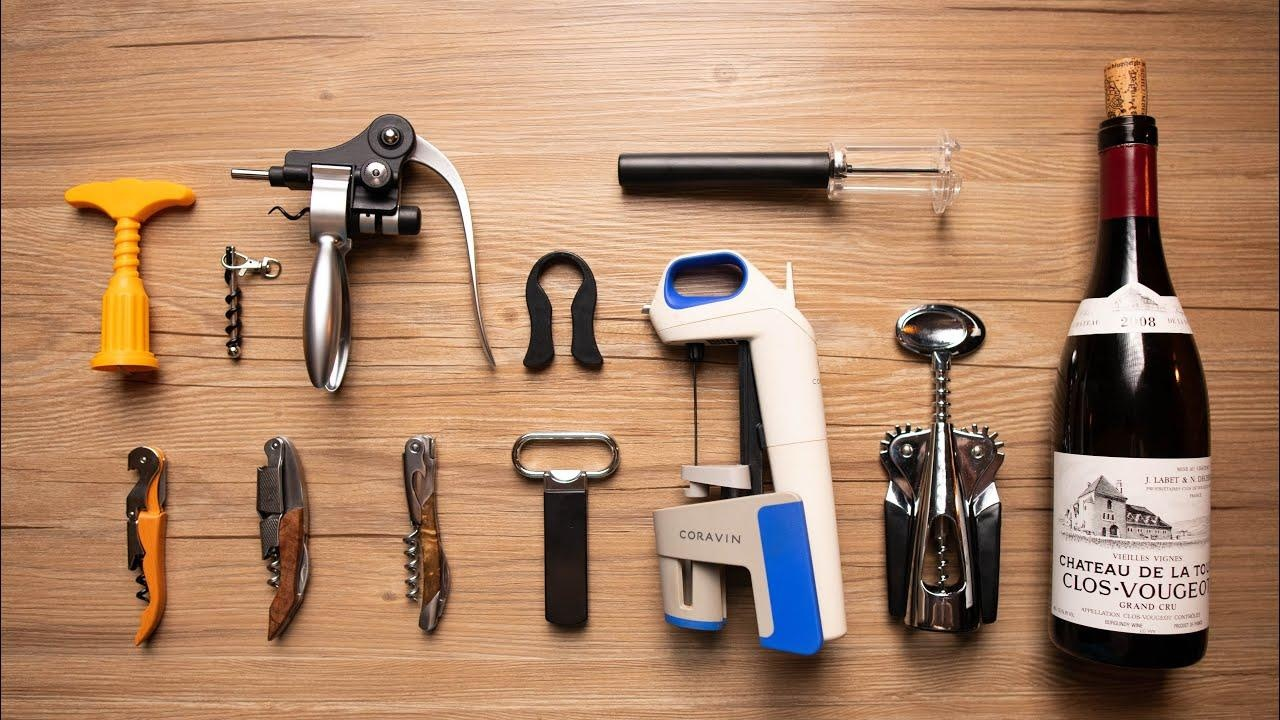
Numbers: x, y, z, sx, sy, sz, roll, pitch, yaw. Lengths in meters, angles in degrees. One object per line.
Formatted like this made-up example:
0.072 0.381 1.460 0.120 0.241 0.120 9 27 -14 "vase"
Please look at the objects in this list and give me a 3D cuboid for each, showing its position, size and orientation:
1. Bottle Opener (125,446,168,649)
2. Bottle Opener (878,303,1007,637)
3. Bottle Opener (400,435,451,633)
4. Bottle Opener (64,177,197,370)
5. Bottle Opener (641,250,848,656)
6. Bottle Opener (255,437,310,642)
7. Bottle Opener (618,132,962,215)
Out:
-0.966 0.361 2.467 0.072 0.387 0.030 -1 -1 15 "Bottle Opener"
0.578 0.202 2.435 0.237 0.623 0.082 -1 -1 7 "Bottle Opener"
-0.419 0.340 2.453 0.084 0.381 0.024 -1 -1 -8 "Bottle Opener"
-0.996 -0.169 2.468 0.240 0.367 0.067 -1 -1 -11 "Bottle Opener"
0.189 0.167 2.405 0.371 0.750 0.142 -1 -1 3 "Bottle Opener"
-0.694 0.344 2.452 0.094 0.388 0.034 -1 -1 -7 "Bottle Opener"
0.290 -0.366 2.541 0.706 0.146 0.207 -1 4 4 "Bottle Opener"
